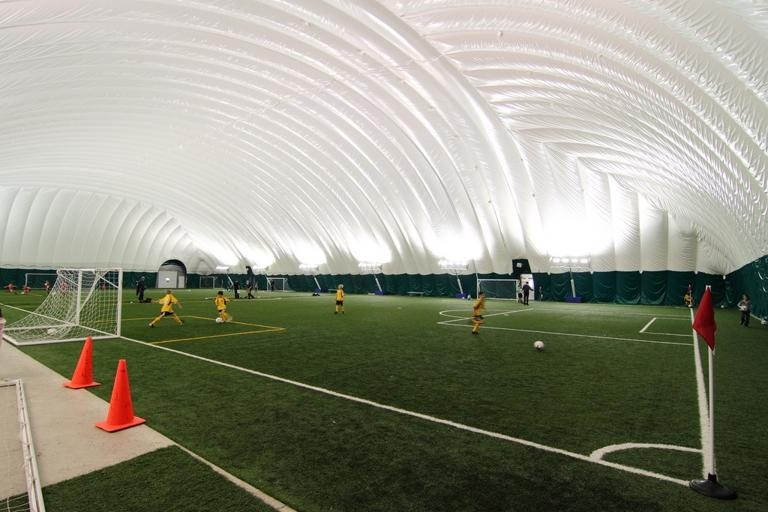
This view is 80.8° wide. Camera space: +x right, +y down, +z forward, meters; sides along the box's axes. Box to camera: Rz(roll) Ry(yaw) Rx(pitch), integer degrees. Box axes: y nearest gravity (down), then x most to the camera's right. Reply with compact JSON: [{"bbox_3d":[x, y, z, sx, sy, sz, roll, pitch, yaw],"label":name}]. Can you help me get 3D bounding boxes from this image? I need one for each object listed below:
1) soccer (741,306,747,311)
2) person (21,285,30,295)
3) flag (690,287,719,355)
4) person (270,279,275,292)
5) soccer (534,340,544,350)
[{"bbox_3d":[19.938,2.847,24.755,0.180,0.312,0.310,0,8,-4],"label":"soccer"},{"bbox_3d":[-46.009,4.312,57.388,1.032,1.237,0.869,3,-10,8],"label":"person"},{"bbox_3d":[6.845,1.335,9.518,0.384,1.494,1.390,6,10,36],"label":"flag"},{"bbox_3d":[-18.514,4.587,74.046,0.509,1.905,1.374,-5,9,-31],"label":"person"},{"bbox_3d":[6.170,3.505,17.792,0.406,0.211,0.365,-3,-4,3],"label":"soccer"}]
